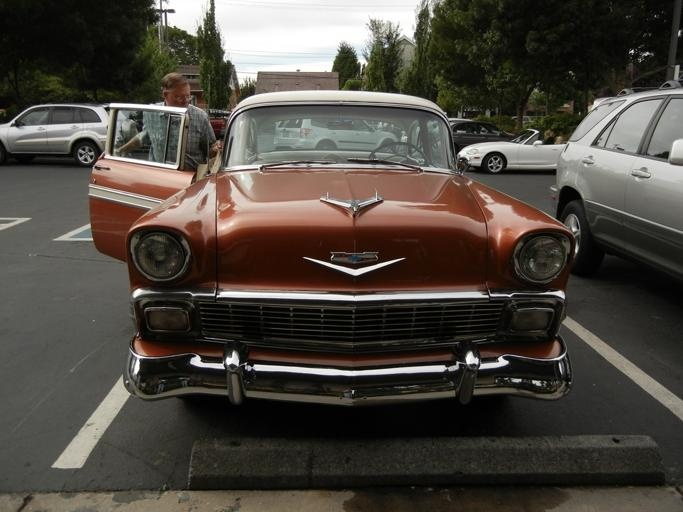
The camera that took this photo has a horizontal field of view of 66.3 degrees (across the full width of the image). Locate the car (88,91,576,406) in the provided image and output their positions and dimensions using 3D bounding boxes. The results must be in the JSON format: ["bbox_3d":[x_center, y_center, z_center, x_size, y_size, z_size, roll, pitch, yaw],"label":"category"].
[{"bbox_3d":[-0.102,0.029,4.254,2.290,1.335,2.924,0,9,-4],"label":"car"}]
